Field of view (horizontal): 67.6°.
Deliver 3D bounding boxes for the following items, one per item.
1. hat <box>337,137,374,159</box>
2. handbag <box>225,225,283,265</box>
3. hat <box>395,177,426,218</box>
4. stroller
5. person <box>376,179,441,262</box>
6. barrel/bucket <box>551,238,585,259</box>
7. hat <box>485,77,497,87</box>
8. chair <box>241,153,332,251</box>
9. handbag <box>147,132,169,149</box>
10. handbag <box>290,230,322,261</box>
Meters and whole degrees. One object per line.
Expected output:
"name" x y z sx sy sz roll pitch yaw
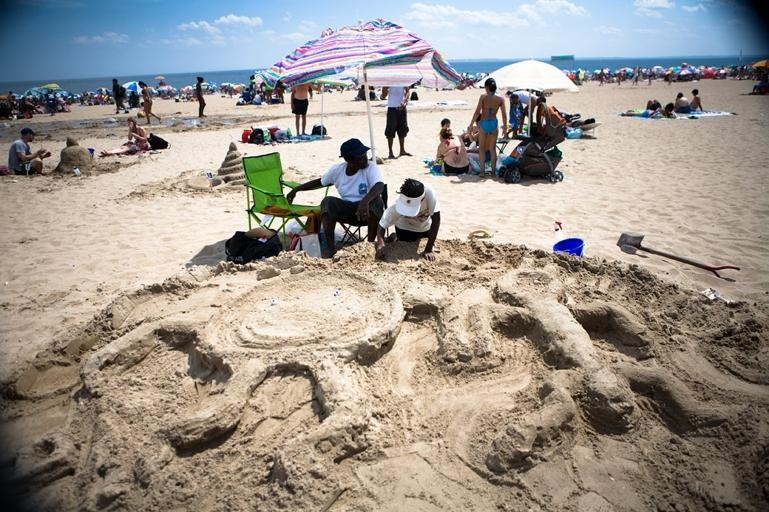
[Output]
"hat" -0.416 -1.473 7.819 0.378 0.197 0.267 -8 25 2
"handbag" -1.770 -0.114 7.843 0.767 0.356 0.844 -6 23 -13
"hat" 0.327 -0.731 7.379 0.332 0.498 0.195 16 2 8
"stroller" 2.807 -2.134 10.677 1.141 1.455 0.690 4 24 13
"person" 0.389 -0.518 7.639 0.806 1.175 1.139 6 67 14
"barrel/bucket" 2.446 -0.115 7.606 0.306 0.135 0.299 -19 28 10
"hat" 2.006 -3.253 10.756 0.177 0.173 0.228 -1 8 5
"chair" -1.441 -0.744 8.468 0.999 1.407 0.942 11 21 30
"handbag" -5.890 -2.984 14.812 0.510 0.207 0.499 -2 26 -47
"handbag" -1.069 -0.143 7.941 0.559 0.510 0.300 -1 -5 -14
